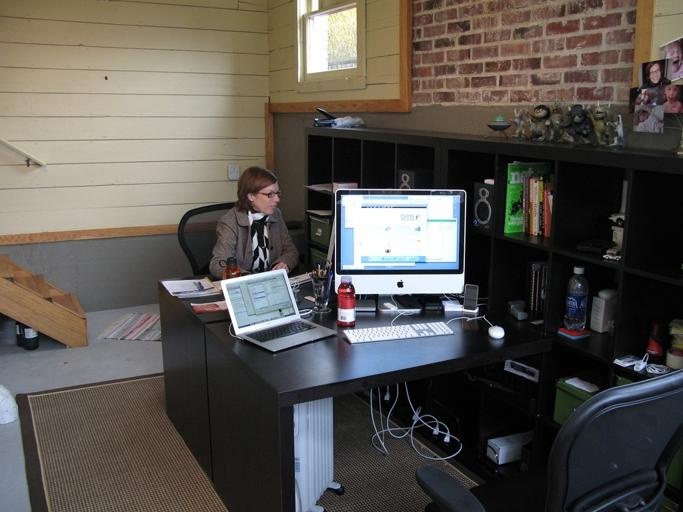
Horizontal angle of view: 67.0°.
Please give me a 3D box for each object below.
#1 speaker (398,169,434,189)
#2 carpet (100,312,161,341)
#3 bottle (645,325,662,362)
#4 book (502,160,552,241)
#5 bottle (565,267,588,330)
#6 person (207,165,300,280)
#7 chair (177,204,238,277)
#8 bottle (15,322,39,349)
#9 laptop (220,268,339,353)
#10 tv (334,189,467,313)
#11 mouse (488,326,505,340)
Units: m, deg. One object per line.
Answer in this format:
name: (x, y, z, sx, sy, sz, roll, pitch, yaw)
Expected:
speaker: (0.436, -0.411, 3.013, 0.137, 0.143, 0.143, 4, -4, -21)
carpet: (-1.783, 0.629, 4.547, 0.530, 0.048, 0.547, -3, 15, 1)
bottle: (1.278, 0.348, 2.096, 0.056, 0.143, 0.057, -3, 15, 1)
book: (0.882, -0.257, 2.462, 0.342, 0.474, 0.060, -7, 12, -40)
bottle: (1.049, 0.188, 2.318, 0.104, 0.298, 0.101, -3, 15, 1)
person: (-0.623, -0.252, 3.755, 0.590, 0.896, 0.708, 22, 29, 38)
chair: (-1.134, -0.143, 4.247, 0.477, 0.696, 0.459, -11, 24, -31)
bottle: (-2.535, 0.633, 4.142, 0.147, 0.222, 0.221, -13, 18, -33)
laptop: (-0.265, 0.221, 2.226, 0.394, 0.244, 0.413, -7, 13, -37)
tv: (0.284, -0.043, 2.530, 0.567, 0.499, 0.193, 0, 2, 0)
mouse: (0.671, 0.333, 2.237, 0.054, 0.051, 0.056, -1, -3, 18)
